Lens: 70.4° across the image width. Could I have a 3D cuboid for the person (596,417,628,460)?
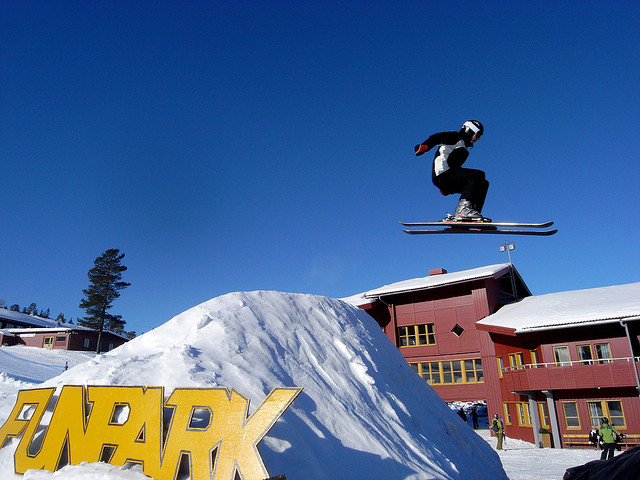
[{"bbox_3d":[9.073,6.231,14.300,0.955,1.344,0.400,-3,-3,10],"label":"person"}]
